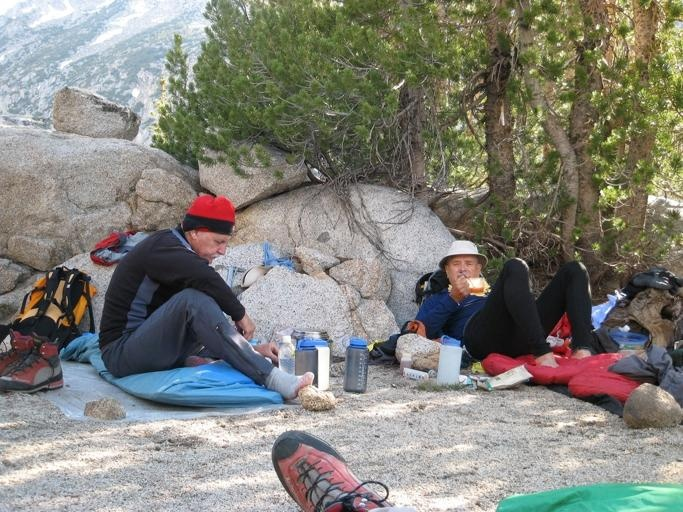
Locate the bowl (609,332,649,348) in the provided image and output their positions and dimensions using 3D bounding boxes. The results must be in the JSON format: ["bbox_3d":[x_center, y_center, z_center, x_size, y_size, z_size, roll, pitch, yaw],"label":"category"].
[{"bbox_3d":[2.844,0.824,7.382,0.391,0.149,0.284,2,1,8],"label":"bowl"}]

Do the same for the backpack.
[{"bbox_3d":[-3.153,0.601,8.312,0.778,0.384,1.033,3,44,-4],"label":"backpack"}]

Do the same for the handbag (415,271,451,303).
[{"bbox_3d":[1.039,0.336,8.833,0.405,0.169,0.315,-23,-16,-40],"label":"handbag"}]

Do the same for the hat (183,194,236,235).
[{"bbox_3d":[-1.181,-0.396,6.875,0.495,0.345,0.360,9,4,8],"label":"hat"}]

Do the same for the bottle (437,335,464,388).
[{"bbox_3d":[1.100,0.989,7.054,0.279,0.421,0.263,2,2,0],"label":"bottle"}]

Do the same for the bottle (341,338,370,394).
[{"bbox_3d":[0.126,0.989,6.861,0.212,0.503,0.237,1,2,0],"label":"bottle"}]
